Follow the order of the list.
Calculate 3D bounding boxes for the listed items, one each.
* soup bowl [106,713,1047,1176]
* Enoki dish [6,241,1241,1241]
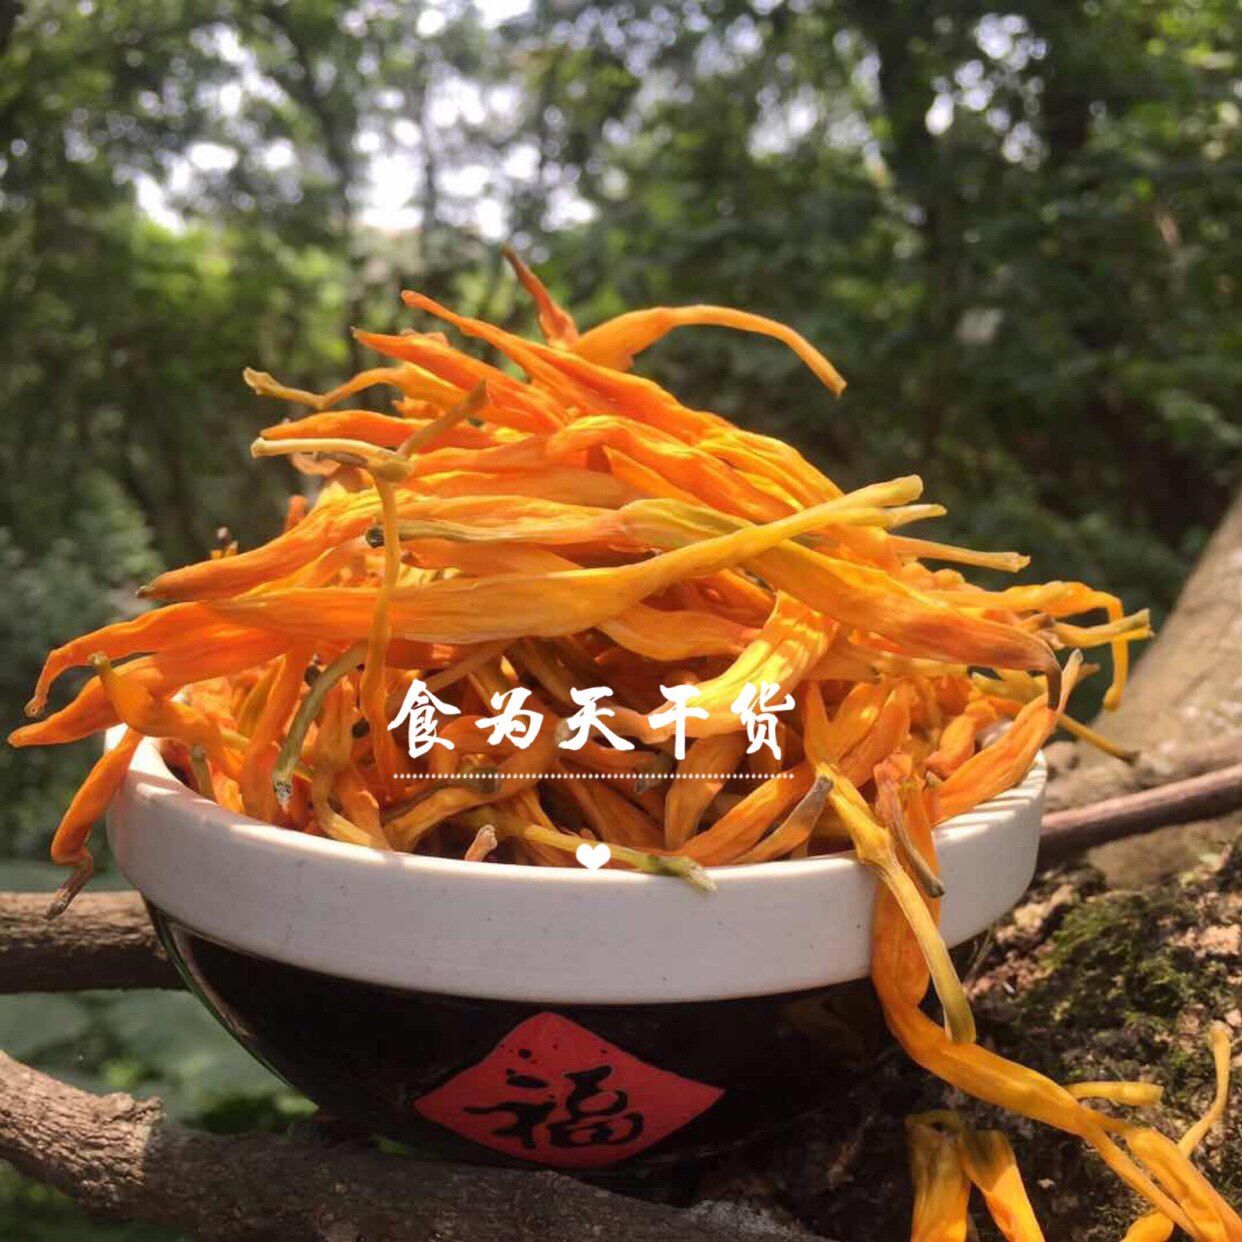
[{"bbox_3d":[-0.040,0.144,0.706,0.344,0.090,0.273,1,2,9],"label":"soup bowl"},{"bbox_3d":[-0.092,0.027,0.905,0.577,0.279,0.709,-5,7,-40],"label":"Enoki dish"}]
